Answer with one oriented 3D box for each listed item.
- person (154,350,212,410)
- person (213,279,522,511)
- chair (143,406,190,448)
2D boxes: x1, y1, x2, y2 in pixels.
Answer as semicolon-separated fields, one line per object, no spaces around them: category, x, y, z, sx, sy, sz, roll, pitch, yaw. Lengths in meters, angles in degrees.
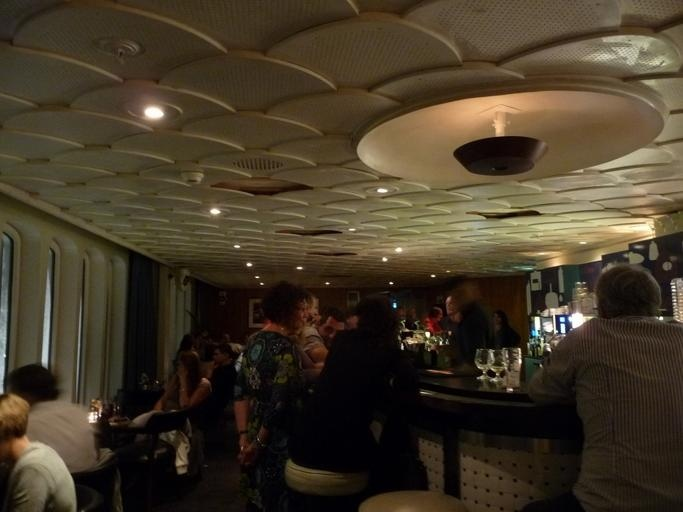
person;-1.955;1.523;6.264;0.623;0.710;0.494;-7;-11;24
person;0.511;0.997;3.833;0.922;1.316;1.907;-8;-11;26
chair;-1.920;1.924;5.704;0.440;0.496;1.282;0;-9;-15
